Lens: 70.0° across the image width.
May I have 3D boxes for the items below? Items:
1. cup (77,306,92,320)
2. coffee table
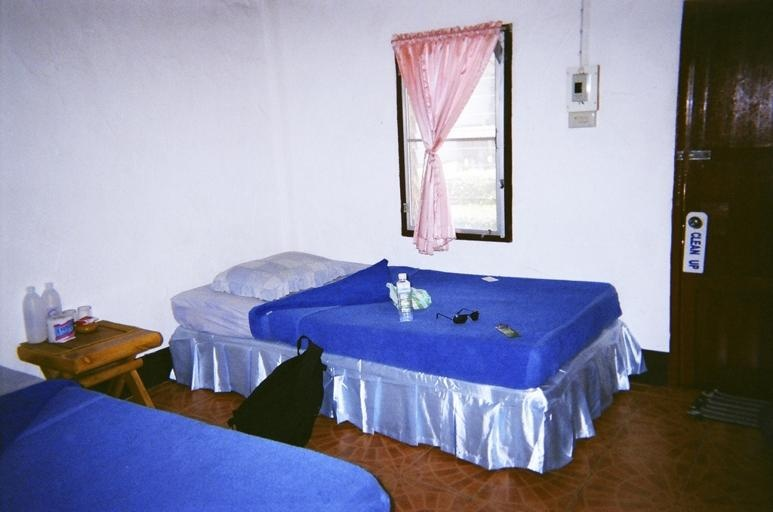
[{"bbox_3d":[-2.189,0.412,4.001,0.105,0.084,0.091,-4,10,-18],"label":"cup"},{"bbox_3d":[-2.101,0.692,3.963,0.659,0.719,0.674,12,20,32],"label":"coffee table"}]
